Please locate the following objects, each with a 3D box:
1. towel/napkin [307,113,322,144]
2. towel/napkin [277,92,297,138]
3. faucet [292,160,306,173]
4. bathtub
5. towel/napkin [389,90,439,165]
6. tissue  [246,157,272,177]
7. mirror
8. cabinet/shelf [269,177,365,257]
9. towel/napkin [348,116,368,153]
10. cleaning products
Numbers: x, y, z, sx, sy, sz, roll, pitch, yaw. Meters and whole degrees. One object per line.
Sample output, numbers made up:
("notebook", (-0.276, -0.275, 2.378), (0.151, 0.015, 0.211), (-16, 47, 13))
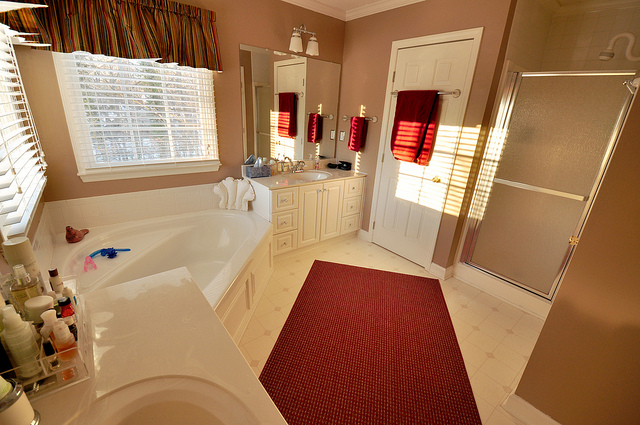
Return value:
("towel/napkin", (-0.060, -1.040, 4.677), (0.174, 0.281, 0.174), (6, 8, 18))
("towel/napkin", (-0.387, -1.145, 4.385), (0.294, 0.523, 0.063), (16, 23, 32))
("faucet", (-0.266, -0.561, 4.589), (0.067, 0.124, 0.124), (21, 31, 35))
("bathtub", (-1.340, 0.533, 3.625), (1.550, 0.768, 1.425), (5, 19, 6))
("towel/napkin", (1.035, -0.911, 3.978), (0.100, 0.876, 0.629), (-20, 32, -38))
("tissue ", (-0.704, -0.499, 4.204), (0.256, 0.212, 0.133), (-15, 26, -41))
("mirror", (-0.332, -1.164, 4.426), (1.258, 1.259, 0.039), (-16, 29, -39))
("cabinet/shelf", (-0.067, 0.043, 4.329), (0.853, 0.517, 0.265), (-14, 27, -31))
("towel/napkin", (0.515, -1.035, 4.691), (0.137, 0.431, 0.512), (5, 20, -5))
("cleaning products", (-1.591, 0.546, 2.091), (0.299, 0.533, 0.563), (-8, 21, -29))
